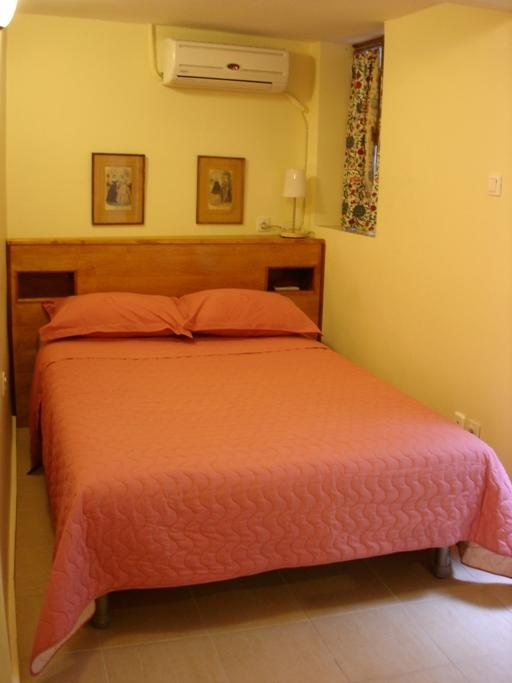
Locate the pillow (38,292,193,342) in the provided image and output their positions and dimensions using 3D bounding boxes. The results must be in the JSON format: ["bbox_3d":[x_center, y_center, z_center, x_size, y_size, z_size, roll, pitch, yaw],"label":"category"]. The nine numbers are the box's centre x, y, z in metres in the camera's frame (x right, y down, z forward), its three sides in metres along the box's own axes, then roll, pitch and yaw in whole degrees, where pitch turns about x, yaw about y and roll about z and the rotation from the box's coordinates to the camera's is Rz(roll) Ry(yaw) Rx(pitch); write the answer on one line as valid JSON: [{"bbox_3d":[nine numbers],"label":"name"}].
[{"bbox_3d":[-0.760,-0.138,2.937,0.504,0.142,0.399,-1,37,-19],"label":"pillow"}]

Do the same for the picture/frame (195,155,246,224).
[{"bbox_3d":[-0.246,-1.010,3.541,0.414,0.571,0.024,-3,12,-26],"label":"picture/frame"}]

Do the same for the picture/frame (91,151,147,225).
[{"bbox_3d":[-0.854,-0.953,3.304,0.418,0.579,0.022,-3,14,-18],"label":"picture/frame"}]

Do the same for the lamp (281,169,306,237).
[{"bbox_3d":[0.261,-0.915,3.654,0.146,0.428,0.362,3,6,3],"label":"lamp"}]
